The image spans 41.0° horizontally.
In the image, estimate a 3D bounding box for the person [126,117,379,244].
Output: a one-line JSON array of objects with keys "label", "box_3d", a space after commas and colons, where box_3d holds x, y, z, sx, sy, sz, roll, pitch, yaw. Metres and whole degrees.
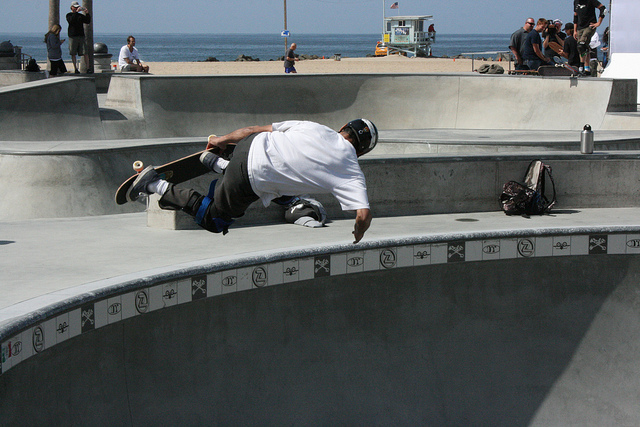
[{"label": "person", "box_3d": [-0.542, -0.398, 9.041, 2.096, 0.736, 1.520, -16, 40, -8]}]

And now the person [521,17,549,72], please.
[{"label": "person", "box_3d": [4.669, -3.611, 18.293, 0.577, 1.047, 1.535, 6, 14, 24]}]

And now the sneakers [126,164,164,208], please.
[{"label": "sneakers", "box_3d": [-2.037, -0.332, 9.858, 0.221, 0.537, 0.233, 36, 14, -6]}]

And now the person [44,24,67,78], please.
[{"label": "person", "box_3d": [-6.306, -3.877, 20.388, 0.461, 1.206, 2.054, -4, 13, -18]}]

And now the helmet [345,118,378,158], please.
[{"label": "helmet", "box_3d": [0.443, -0.847, 9.104, 0.346, 0.377, 0.314, -19, 34, -17]}]

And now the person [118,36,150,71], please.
[{"label": "person", "box_3d": [-4.763, -3.978, 22.036, 0.826, 1.153, 0.758, -1, 8, -16]}]

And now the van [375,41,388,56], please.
[{"label": "van", "box_3d": [5.963, -15.411, 80.666, 1.280, 1.339, 2.215, 1, 17, -3]}]

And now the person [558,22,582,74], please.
[{"label": "person", "box_3d": [6.033, -3.978, 20.366, 0.432, 1.038, 3.192, 4, 13, 16]}]
